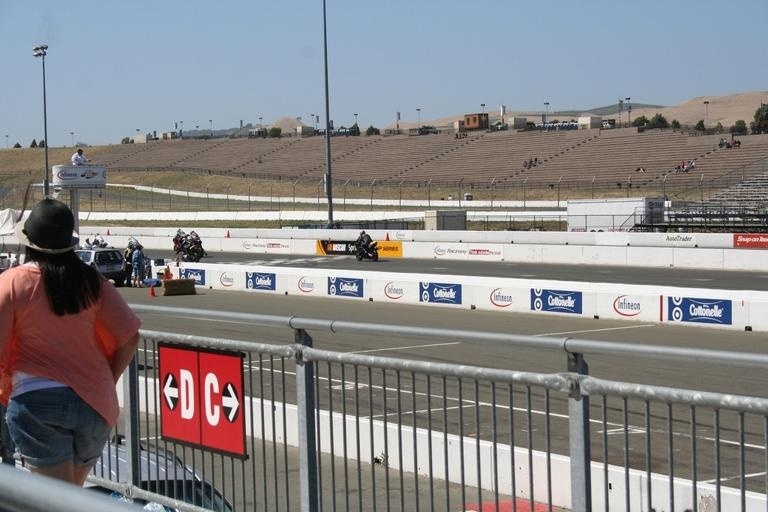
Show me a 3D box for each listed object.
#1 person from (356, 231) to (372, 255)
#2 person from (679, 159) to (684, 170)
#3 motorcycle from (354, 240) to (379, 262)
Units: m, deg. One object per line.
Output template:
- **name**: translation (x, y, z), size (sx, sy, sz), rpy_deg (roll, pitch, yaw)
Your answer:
- **person**: translation (-0.827, -0.562, 56.759), size (0.374, 0.956, 0.729), rpy_deg (-3, 6, -32)
- **person**: translation (22.262, -6.878, 103.715), size (0.462, 0.534, 0.916), rpy_deg (-2, 5, 11)
- **motorcycle**: translation (-0.768, -0.163, 57.028), size (0.531, 0.630, 1.085), rpy_deg (0, 3, -40)
